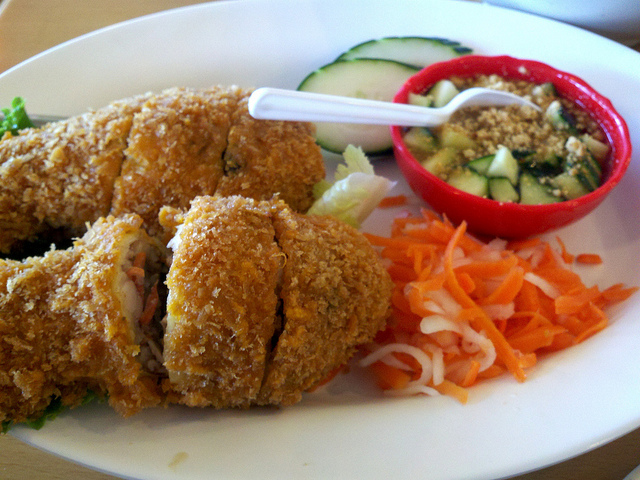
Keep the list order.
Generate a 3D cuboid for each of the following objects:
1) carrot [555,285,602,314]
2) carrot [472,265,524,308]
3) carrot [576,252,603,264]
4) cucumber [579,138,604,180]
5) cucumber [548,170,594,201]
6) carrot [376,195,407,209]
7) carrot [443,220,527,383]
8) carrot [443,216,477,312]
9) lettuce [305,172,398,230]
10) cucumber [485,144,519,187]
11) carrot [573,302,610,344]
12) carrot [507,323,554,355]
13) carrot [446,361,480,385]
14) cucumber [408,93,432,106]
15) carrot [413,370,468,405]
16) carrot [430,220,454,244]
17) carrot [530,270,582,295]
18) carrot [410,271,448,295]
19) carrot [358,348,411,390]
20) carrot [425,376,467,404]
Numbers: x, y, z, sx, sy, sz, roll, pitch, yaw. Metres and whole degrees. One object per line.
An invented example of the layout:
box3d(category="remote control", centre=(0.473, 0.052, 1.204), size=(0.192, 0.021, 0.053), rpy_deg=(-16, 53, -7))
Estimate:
box3d(category="carrot", centre=(0.902, 0.218, 2.207), size=(0.170, 0.018, 0.076), rpy_deg=(-19, 82, -22))
box3d(category="carrot", centre=(0.643, 0.182, 2.252), size=(0.199, 0.058, 0.093), rpy_deg=(-47, 65, 26))
box3d(category="carrot", centre=(1.044, 0.074, 2.432), size=(0.080, 0.025, 0.043), rpy_deg=(-1, 69, 5))
box3d(category="cucumber", centre=(1.028, -0.297, 2.395), size=(0.024, 0.063, 0.108), rpy_deg=(-32, 69, 37))
box3d(category="cucumber", centre=(0.936, -0.200, 2.328), size=(0.110, 0.031, 0.117), rpy_deg=(-22, 64, -7))
box3d(category="carrot", centre=(0.300, -0.153, 2.582), size=(0.100, 0.025, 0.055), rpy_deg=(-8, 61, -3))
box3d(category="carrot", centre=(0.563, 0.245, 2.225), size=(0.171, 0.091, 0.604), rpy_deg=(-21, 76, 9))
box3d(category="carrot", centre=(0.502, 0.090, 2.253), size=(0.080, 0.069, 0.307), rpy_deg=(-7, 100, -15))
box3d(category="lettuce", centre=(0.117, -0.147, 2.429), size=(0.315, 0.203, 0.110), rpy_deg=(-29, 53, 9))
box3d(category="cucumber", centre=(0.694, -0.260, 2.369), size=(0.114, 0.061, 0.153), rpy_deg=(24, 96, 52))
box3d(category="carrot", centre=(0.956, 0.295, 2.193), size=(0.040, 0.126, 0.127), rpy_deg=(23, 63, 13))
box3d(category="carrot", centre=(0.787, 0.358, 2.336), size=(0.171, 0.349, 0.105), rpy_deg=(5, 83, 11))
box3d(category="carrot", centre=(0.490, 0.462, 2.142), size=(0.090, 0.066, 0.034), rpy_deg=(-32, 97, 13))
box3d(category="cucumber", centre=(0.394, -0.549, 2.481), size=(0.063, 0.016, 0.062), rpy_deg=(11, 43, 0))
box3d(category="carrot", centre=(0.410, 0.503, 2.118), size=(0.209, 0.027, 0.088), rpy_deg=(19, 101, 40))
box3d(category="carrot", centre=(0.455, -0.028, 2.336), size=(0.089, 0.039, 0.057), rpy_deg=(32, 95, 8))
box3d(category="carrot", centre=(0.868, 0.146, 2.281), size=(0.138, 0.034, 0.092), rpy_deg=(30, 91, -3))
box3d(category="carrot", centre=(0.390, 0.156, 2.199), size=(0.075, 0.088, 0.032), rpy_deg=(-9, 71, -34))
box3d(category="carrot", centre=(0.230, 0.422, 2.228), size=(0.207, 0.094, 0.063), rpy_deg=(-9, 44, 2))
box3d(category="carrot", centre=(0.438, 0.505, 2.100), size=(0.133, 0.016, 0.050), rpy_deg=(10, 72, 47))
